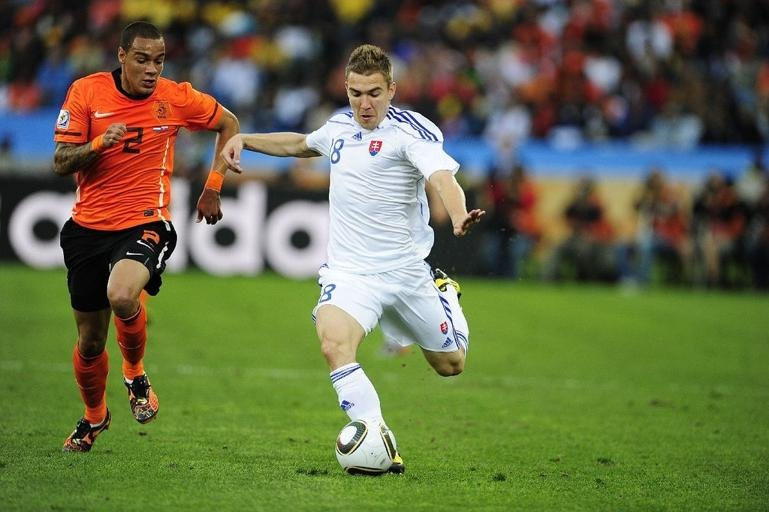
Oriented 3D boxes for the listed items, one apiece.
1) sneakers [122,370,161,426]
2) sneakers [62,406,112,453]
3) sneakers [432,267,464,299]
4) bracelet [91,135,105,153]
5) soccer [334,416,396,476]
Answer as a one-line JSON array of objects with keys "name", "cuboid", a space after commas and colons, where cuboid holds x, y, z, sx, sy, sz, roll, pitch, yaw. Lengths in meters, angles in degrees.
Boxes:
[{"name": "sneakers", "cuboid": [-2.034, 1.199, 7.592, 0.196, 0.523, 0.222, -21, -3, -7]}, {"name": "sneakers", "cuboid": [-2.423, 1.463, 7.389, 0.166, 0.204, 0.466, 21, 42, 16]}, {"name": "sneakers", "cuboid": [0.550, 0.303, 8.171, 0.139, 0.242, 0.331, -37, -44, 22]}, {"name": "bracelet", "cuboid": [-2.249, -0.874, 7.179, 0.118, 0.133, 0.132, 4, 4, 3]}, {"name": "soccer", "cuboid": [-0.156, 1.443, 6.910, 0.400, 0.402, 0.405, 0, -16, -2]}]
